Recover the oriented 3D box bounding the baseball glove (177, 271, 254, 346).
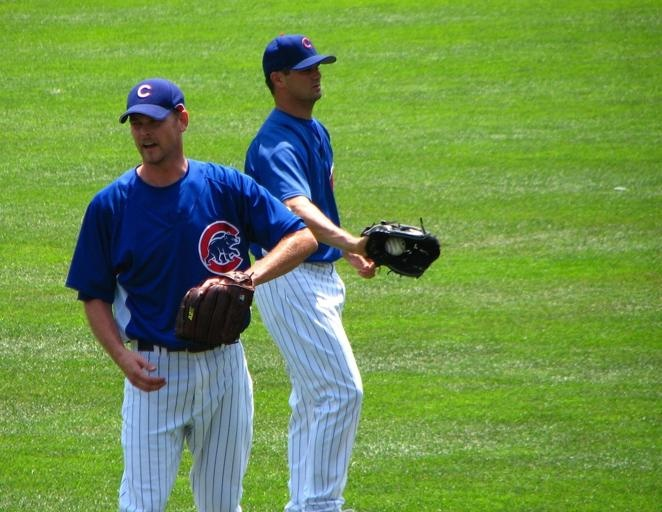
[{"bbox_3d":[-0.825,0.489,12.049,0.560,0.503,0.407,4,-3,31],"label":"baseball glove"}]

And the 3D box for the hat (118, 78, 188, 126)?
[{"bbox_3d":[-1.382,-1.188,12.186,0.442,0.272,0.603,0,12,19],"label":"hat"}]

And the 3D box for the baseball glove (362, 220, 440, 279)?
[{"bbox_3d":[0.566,-0.020,12.768,0.623,0.394,0.312,13,15,25],"label":"baseball glove"}]

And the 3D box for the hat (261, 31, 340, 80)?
[{"bbox_3d":[-0.296,-1.659,13.058,0.662,0.295,0.400,-4,16,26],"label":"hat"}]
